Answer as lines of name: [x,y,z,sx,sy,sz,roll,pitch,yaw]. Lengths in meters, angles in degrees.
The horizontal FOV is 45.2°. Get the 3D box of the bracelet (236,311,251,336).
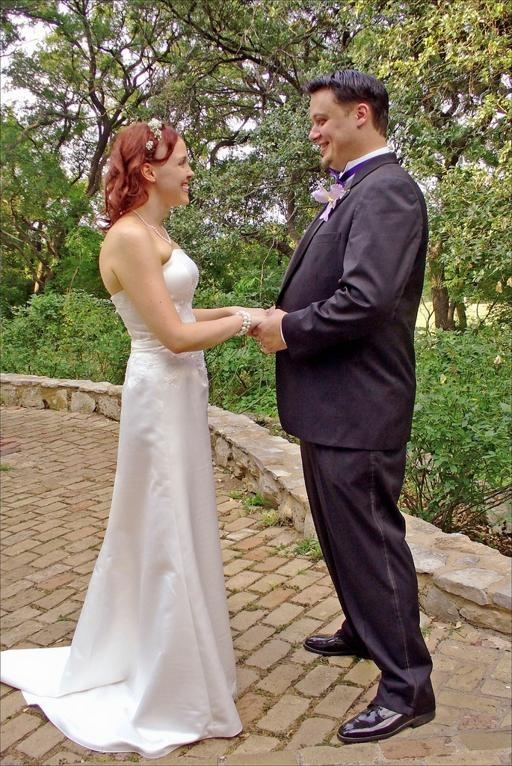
bracelet: [-0.027,-0.199,2.029,0.029,0.072,0.066,7,-9,-28]

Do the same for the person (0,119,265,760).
person: [-0.411,0.139,1.968,0.827,1.914,0.553,-1,8,18]

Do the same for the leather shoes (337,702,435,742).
leather shoes: [0.401,0.999,1.847,0.292,0.084,0.101,-2,-11,-13]

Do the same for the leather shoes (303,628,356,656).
leather shoes: [0.280,0.982,2.351,0.227,0.081,0.079,5,-6,11]

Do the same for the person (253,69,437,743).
person: [0.266,0.065,1.866,0.503,1.947,0.418,1,9,32]
